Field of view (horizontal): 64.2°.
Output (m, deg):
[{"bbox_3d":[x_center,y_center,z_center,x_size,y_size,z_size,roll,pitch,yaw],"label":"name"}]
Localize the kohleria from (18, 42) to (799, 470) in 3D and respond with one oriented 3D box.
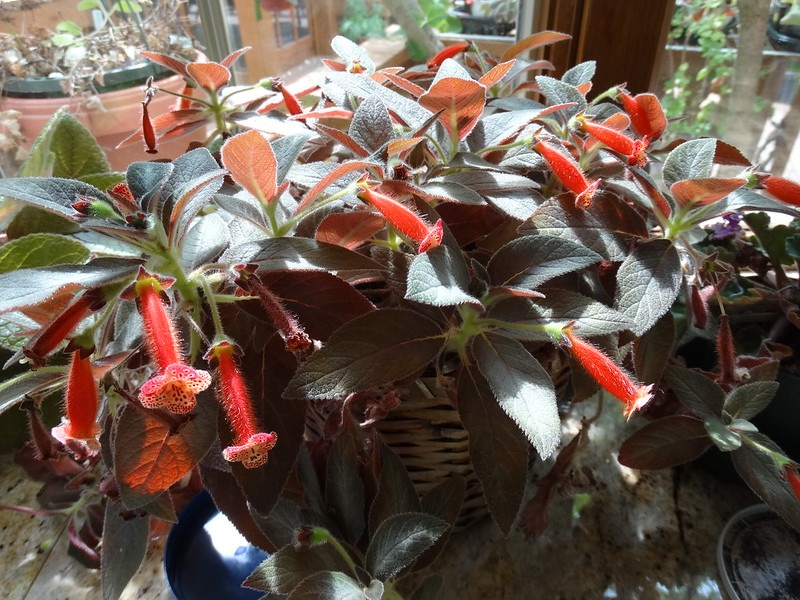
[{"bbox_3d":[0.006,-0.050,0.920,0.937,0.259,0.755,11,46,6],"label":"kohleria"}]
